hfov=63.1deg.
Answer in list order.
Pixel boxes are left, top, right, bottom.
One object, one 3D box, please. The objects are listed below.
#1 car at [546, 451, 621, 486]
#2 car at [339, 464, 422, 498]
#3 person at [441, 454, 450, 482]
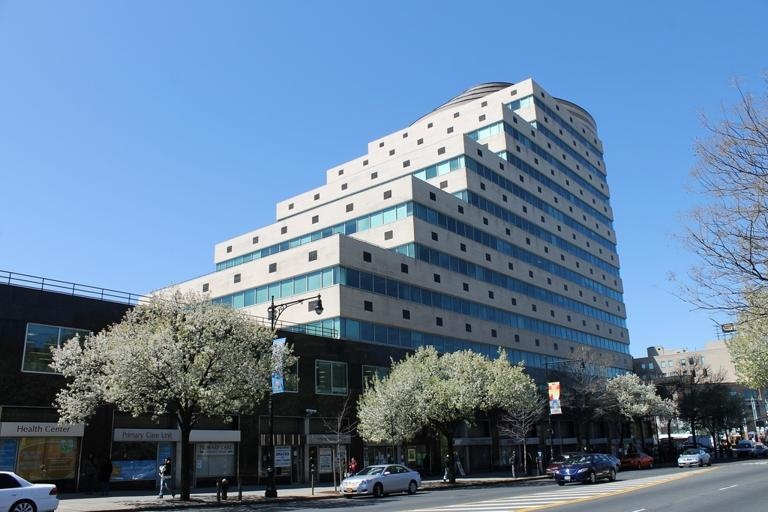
[{"bbox_3d":[15.632,16.562,48.695,5.546,2.273,2.192,16,-29,-40],"label":"car"},{"bbox_3d":[-0.127,16.225,44.808,5.242,1.589,2.359,18,-29,-36],"label":"car"},{"bbox_3d":[5.240,17.862,52.315,0.405,2.140,0.931,1,-22,-9],"label":"person"}]
